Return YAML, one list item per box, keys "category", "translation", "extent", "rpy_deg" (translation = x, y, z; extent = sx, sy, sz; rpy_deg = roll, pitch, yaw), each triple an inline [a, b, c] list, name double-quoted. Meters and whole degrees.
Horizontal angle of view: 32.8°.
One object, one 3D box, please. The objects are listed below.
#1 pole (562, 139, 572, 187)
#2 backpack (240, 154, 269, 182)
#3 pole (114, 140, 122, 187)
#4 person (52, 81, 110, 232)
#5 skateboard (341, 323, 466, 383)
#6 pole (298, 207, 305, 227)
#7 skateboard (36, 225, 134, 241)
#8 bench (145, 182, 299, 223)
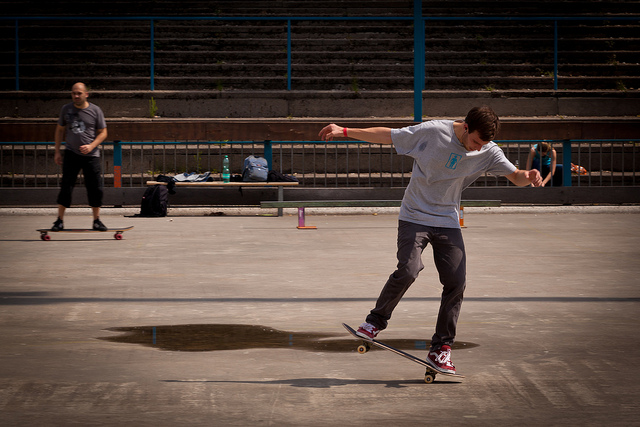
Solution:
- category: "pole"
  translation: [5.815, -1.203, 25.694]
  extent: [0.254, 1.119, 0.342]
  rpy_deg: [5, 16, 10]
- category: "backpack"
  translation: [-1.504, -1.023, 24.791]
  extent: [0.619, 0.646, 0.424]
  rpy_deg: [7, -17, -20]
- category: "pole"
  translation: [-4.752, -1.178, 25.476]
  extent: [0.168, 1.075, 0.363]
  rpy_deg: [-1, 16, -10]
- category: "person"
  translation: [-4.377, -1.005, 19.779]
  extent: [0.971, 2.679, 0.870]
  rpy_deg: [1, 16, -3]
- category: "skateboard"
  translation: [0.984, 1.682, 12.945]
  extent: [1.504, 0.178, 0.299]
  rpy_deg: [18, 2, 19]
- category: "pole"
  translation: [-0.381, 0.061, 21.997]
  extent: [0.107, 0.406, 0.168]
  rpy_deg: [3, 16, 4]
- category: "skateboard"
  translation: [-4.466, 0.371, 20.666]
  extent: [1.574, 0.179, 0.305]
  rpy_deg: [-1, 3, -4]
- category: "bench"
  translation: [-2.150, -0.367, 24.791]
  extent: [3.057, 0.872, 1.121]
  rpy_deg: [0, 14, -7]
